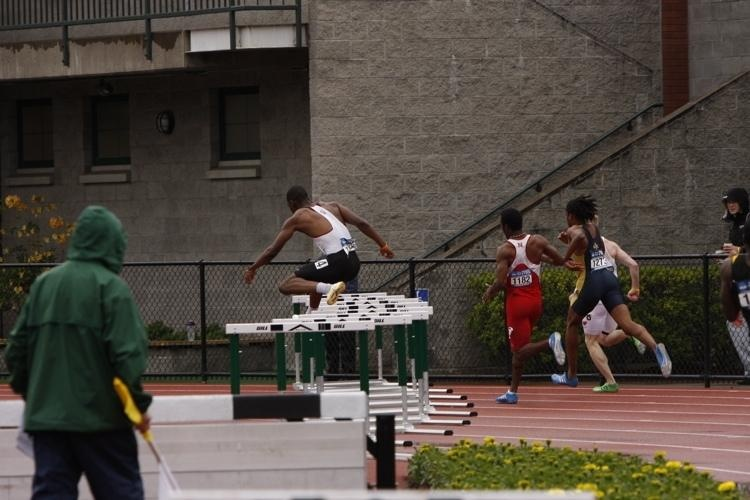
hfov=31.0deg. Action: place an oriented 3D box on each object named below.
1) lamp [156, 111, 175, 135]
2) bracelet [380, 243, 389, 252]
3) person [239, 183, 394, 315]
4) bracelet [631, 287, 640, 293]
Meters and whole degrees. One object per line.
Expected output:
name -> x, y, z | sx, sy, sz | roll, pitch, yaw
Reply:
lamp -> -4.576, -2.804, 29.419 | 0.406, 0.519, 0.208 | -2, -3, 1
bracelet -> 0.154, -0.049, 22.556 | 0.099, 0.135, 0.102 | -14, 6, -13
person -> -0.831, -0.016, 21.703 | 1.406, 2.761, 1.102 | 0, 0, -30
bracelet -> 4.301, 0.663, 22.446 | 0.093, 0.100, 0.098 | 2, 0, 24
